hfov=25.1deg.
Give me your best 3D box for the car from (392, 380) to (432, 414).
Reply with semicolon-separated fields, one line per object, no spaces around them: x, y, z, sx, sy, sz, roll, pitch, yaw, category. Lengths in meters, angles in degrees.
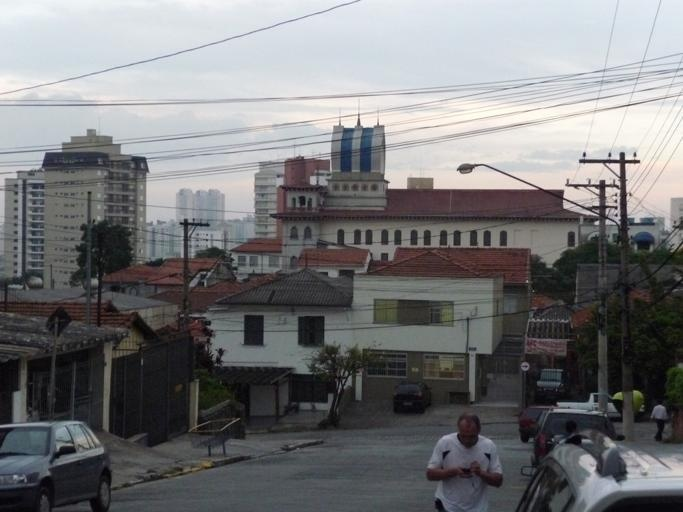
4.325;8.725;94.602;2.094;1.900;2.485;1;-6;4;car
